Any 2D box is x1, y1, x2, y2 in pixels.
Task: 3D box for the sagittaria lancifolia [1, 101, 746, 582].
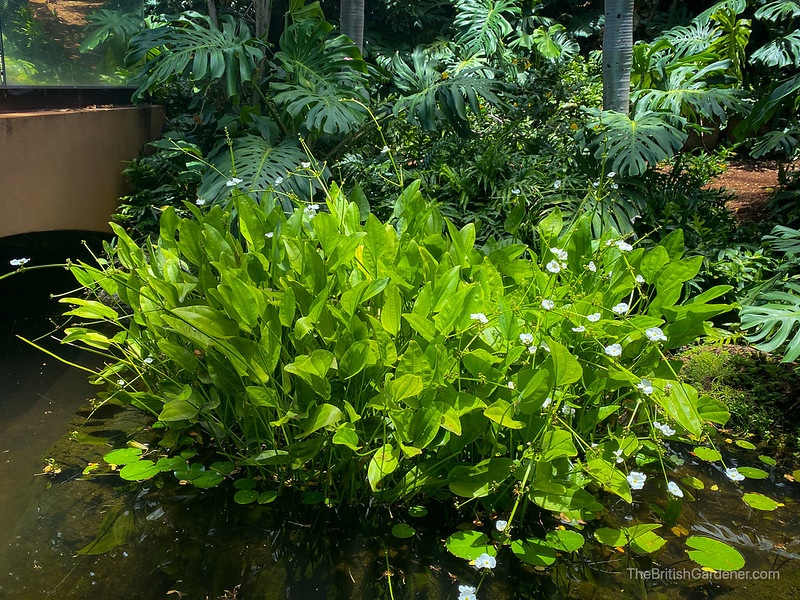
[{"bbox_3d":[0.043,0.160,1.953,2.307,1.054,1.064,10,24,15],"label":"sagittaria lancifolia"}]
